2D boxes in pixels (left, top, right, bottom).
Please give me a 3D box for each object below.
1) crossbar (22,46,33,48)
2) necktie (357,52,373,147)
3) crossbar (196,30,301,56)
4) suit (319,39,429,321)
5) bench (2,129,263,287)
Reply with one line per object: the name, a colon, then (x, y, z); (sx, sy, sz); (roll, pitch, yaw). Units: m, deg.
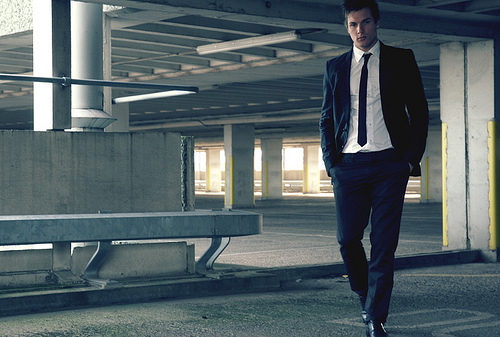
crossbar: (-5.212, -2.866, 18.055); (0.222, 0.040, 0.195); (1, 0, -7)
necktie: (1.195, -0.728, 8.052); (0.115, 0.972, 0.150); (-1, -1, 25)
crossbar: (-0.146, -2.559, 15.839); (2.241, 0.205, 0.248); (-4, 17, 28)
suit: (1.302, 0.121, 8.132); (1.123, 2.927, 0.351); (0, -1, 5)
bench: (-1.737, 0.491, 10.435); (3.193, 2.033, 2.112); (0, 0, -19)
